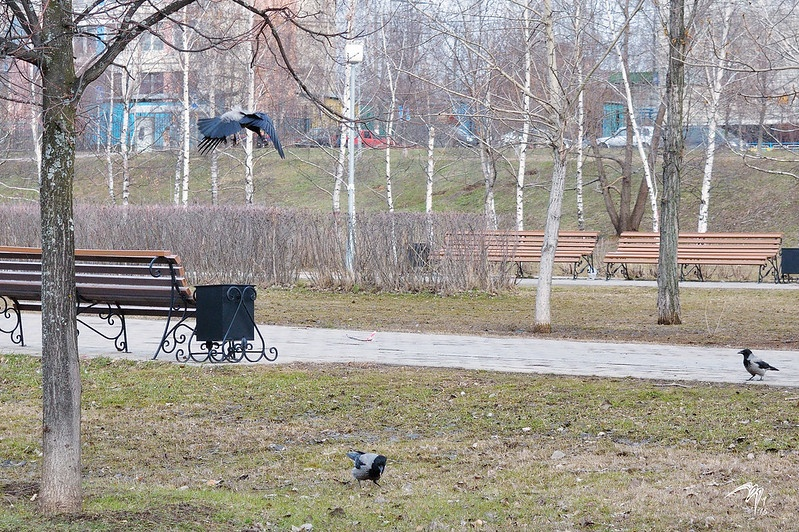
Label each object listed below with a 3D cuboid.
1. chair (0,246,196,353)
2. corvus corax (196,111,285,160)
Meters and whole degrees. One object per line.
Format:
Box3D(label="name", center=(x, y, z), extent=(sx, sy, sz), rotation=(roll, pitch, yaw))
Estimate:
Box3D(label="chair", center=(-7.671, 0.947, 46.899), extent=(5.320, 2.784, 3.595), rotation=(2, 4, 36))
Box3D(label="corvus corax", center=(-4.129, -3.353, 44.826), extent=(1.543, 1.137, 2.499), rotation=(-3, 4, -39))
